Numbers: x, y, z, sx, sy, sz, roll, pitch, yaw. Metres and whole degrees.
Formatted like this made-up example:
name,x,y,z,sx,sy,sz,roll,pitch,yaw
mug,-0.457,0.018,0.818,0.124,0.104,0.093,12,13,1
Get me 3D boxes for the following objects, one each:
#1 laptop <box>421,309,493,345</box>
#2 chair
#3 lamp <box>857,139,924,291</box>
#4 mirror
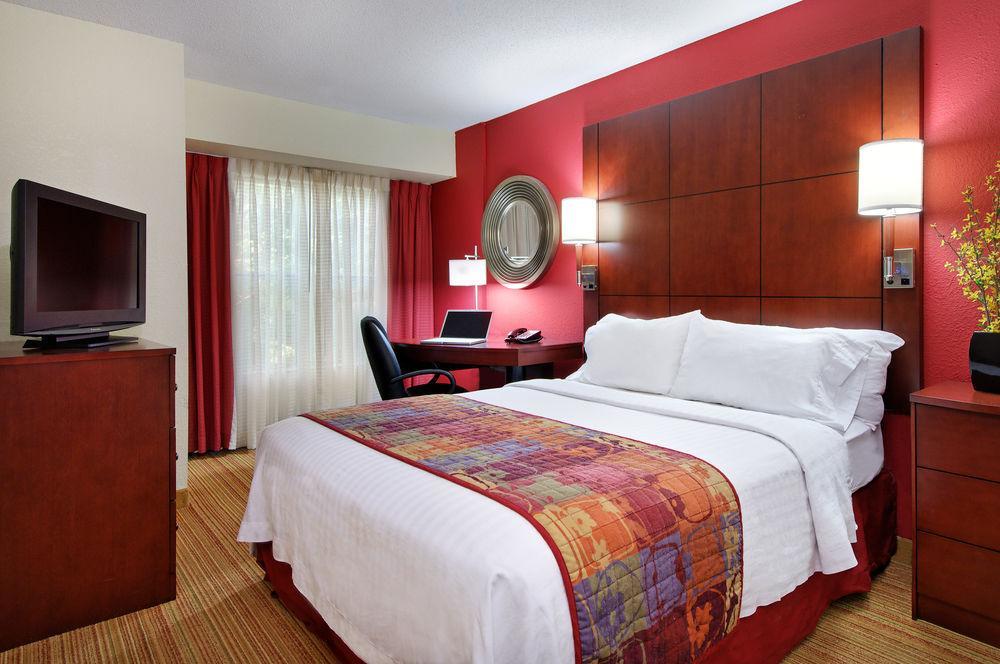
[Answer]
name,x,y,z,sx,sy,sz,roll,pitch,yaw
laptop,-0.316,-0.045,5.589,0.435,0.256,0.366,-2,-4,32
chair,-0.717,0.265,5.172,0.760,0.958,0.812,-7,4,-11
lamp,2.275,-0.675,3.604,0.342,0.816,0.322,0,-1,21
mirror,0.215,-0.922,5.772,0.089,1.176,1.143,-2,1,-36
